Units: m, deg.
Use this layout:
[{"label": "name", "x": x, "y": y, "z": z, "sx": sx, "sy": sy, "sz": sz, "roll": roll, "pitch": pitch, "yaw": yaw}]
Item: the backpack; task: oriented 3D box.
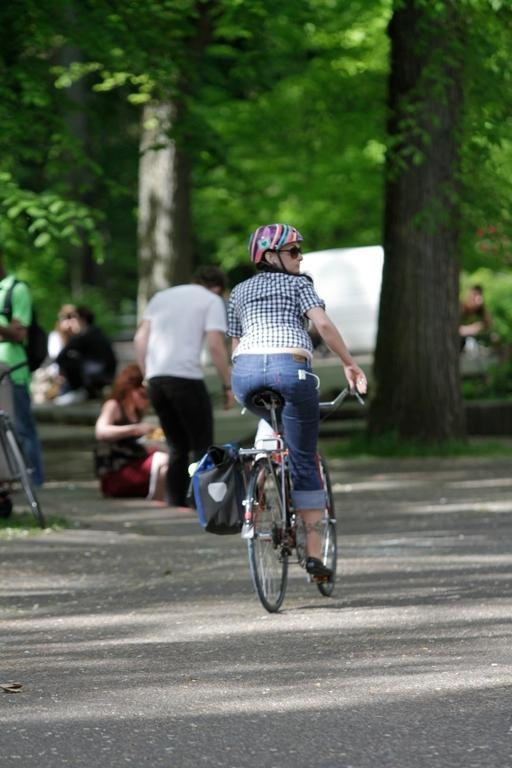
[{"label": "backpack", "x": -1.675, "y": -0.354, "z": 9.267, "sx": 0.434, "sy": 0.562, "sz": 0.661, "roll": 0, "pitch": -1, "yaw": 1}]

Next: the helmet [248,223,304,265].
[{"label": "helmet", "x": 0.094, "y": -0.659, "z": 5.877, "sx": 0.242, "sy": 0.158, "sz": 0.174, "roll": -10, "pitch": 8, "yaw": 19}]

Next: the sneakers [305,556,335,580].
[{"label": "sneakers", "x": 0.294, "y": 0.852, "z": 5.765, "sx": 0.066, "sy": 0.171, "sz": 0.063, "roll": -28, "pitch": 38, "yaw": 37}]

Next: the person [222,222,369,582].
[{"label": "person", "x": 0.184, "y": -0.084, "z": 5.814, "sx": 0.604, "sy": 1.308, "sz": 0.559, "roll": -5, "pitch": 10, "yaw": -7}]
